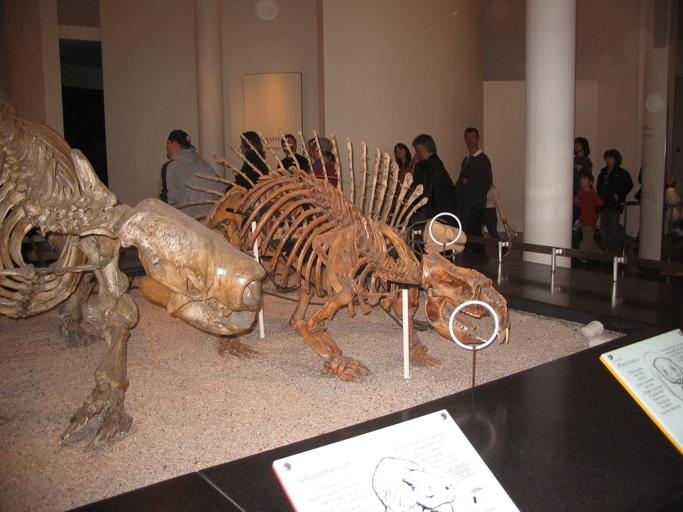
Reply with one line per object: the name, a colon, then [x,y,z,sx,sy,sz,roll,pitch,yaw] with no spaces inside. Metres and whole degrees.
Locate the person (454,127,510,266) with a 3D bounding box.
person: [1.903,-0.878,7.094,0.633,1.734,1.495,1,14,13]

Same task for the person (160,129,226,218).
person: [-1.624,-0.843,5.477,0.687,0.970,1.194,-7,14,-19]

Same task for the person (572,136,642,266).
person: [3.376,-0.607,6.659,0.646,1.549,1.271,4,15,28]
